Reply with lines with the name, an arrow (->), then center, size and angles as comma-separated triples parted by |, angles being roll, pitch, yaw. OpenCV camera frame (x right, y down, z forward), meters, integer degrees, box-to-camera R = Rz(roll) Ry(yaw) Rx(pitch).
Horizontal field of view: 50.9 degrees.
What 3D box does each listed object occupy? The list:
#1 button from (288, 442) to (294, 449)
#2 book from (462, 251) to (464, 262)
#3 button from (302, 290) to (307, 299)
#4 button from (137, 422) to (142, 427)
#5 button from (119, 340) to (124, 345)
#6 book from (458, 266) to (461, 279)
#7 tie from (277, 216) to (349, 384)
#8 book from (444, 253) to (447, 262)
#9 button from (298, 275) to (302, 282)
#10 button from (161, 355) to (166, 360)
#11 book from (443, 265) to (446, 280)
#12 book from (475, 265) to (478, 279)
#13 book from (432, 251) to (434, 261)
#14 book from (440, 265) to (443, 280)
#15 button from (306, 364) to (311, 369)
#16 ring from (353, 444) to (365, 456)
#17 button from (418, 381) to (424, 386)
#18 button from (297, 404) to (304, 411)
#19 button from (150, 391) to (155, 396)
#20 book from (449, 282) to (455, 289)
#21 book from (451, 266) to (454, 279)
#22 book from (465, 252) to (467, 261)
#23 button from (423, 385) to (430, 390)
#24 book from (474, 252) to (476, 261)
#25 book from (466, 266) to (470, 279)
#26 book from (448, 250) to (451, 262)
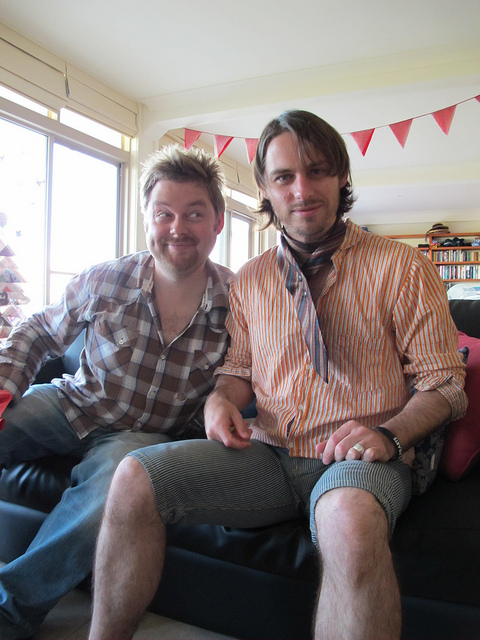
button -> 0.114, 0.279, 1.115 | 0.012, 0.011, 0.003 | 8, 2, 36
book -> 3.743, -1.072, 8.383 | 0.027, 0.137, 0.044 | -1, 3, 14
button -> 0.151, -0.058, 1.155 | 0.004, 0.013, 0.014 | 5, 9, -7
button -> -0.282, 0.291, 1.407 | 0.014, 0.013, 0.003 | 5, 8, -8
button -> -0.336, 0.063, 1.430 | 0.012, 0.011, 0.003 | -1, -18, 1
book -> 3.697, -0.790, 8.420 | 0.039, 0.209, 0.020 | 0, 3, 22
tie -> 0.162, -0.042, 1.219 | 0.145, 0.410, 0.071 | 1, -21, 15
book -> 3.492, -1.053, 8.482 | 0.042, 0.142, 0.068 | -1, 3, 18
button -> 0.143, -0.097, 1.182 | 0.003, 0.017, 0.019 | -2, 3, -11
button -> -0.215, 0.105, 1.415 | 0.012, 0.011, 0.003 | -3, -21, 4
book -> 3.502, -0.829, 8.560 | 0.048, 0.199, 0.103 | 0, 3, 26
book -> 3.926, -0.784, 8.305 | 0.040, 0.216, 0.034 | -1, 3, 19
book -> 3.324, -1.099, 8.597 | 0.029, 0.142, 0.062 | -1, 3, 13
book -> 3.458, -0.857, 8.582 | 0.043, 0.145, 0.120 | 0, 3, 23
button -> 0.158, 0.106, 1.141 | 0.011, 0.011, 0.003 | 2, -7, 38
ring -> 0.218, 0.235, 0.911 | 0.016, 0.007, 0.019 | 43, -6, -18
button -> 0.385, 0.134, 1.064 | 0.002, 0.008, 0.008 | 40, 27, -2
button -> 0.134, 0.195, 1.121 | 0.012, 0.011, 0.003 | -8, -34, 24
button -> -0.242, 0.204, 1.390 | 0.011, 0.009, 0.003 | -10, 5, 15
book -> 3.608, -0.580, 8.540 | 0.092, 0.082, 0.087 | -1, 13, 3
book -> 3.605, -0.801, 8.477 | 0.040, 0.199, 0.029 | -1, 3, 21
book -> 3.775, -1.047, 8.349 | 0.029, 0.137, 0.044 | 0, 3, 23
button -> 0.390, 0.139, 1.044 | 0.011, 0.009, 0.006 | 1, 4, 44
book -> 3.894, -1.043, 8.282 | 0.024, 0.125, 0.035 | -1, 3, 16
book -> 3.814, -0.785, 8.365 | 0.053, 0.209, 0.038 | -1, 3, 15
book -> 3.553, -1.071, 8.458 | 0.037, 0.142, 0.153 | 5, -1, 18
